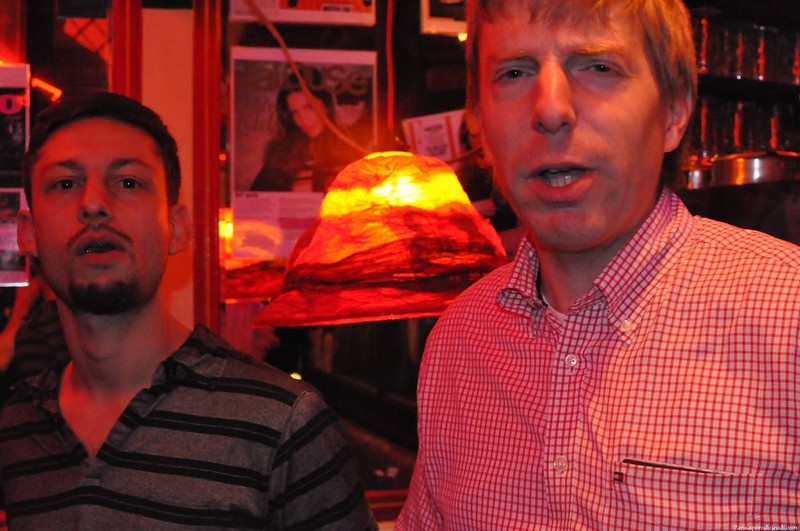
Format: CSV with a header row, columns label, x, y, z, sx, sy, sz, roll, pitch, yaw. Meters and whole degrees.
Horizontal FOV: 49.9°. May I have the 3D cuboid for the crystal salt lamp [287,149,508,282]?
label,x,y,z,sx,sy,sz,roll,pitch,yaw
crystal salt lamp,-0.010,-0.068,1.976,0.361,0.175,0.352,-6,-1,24
